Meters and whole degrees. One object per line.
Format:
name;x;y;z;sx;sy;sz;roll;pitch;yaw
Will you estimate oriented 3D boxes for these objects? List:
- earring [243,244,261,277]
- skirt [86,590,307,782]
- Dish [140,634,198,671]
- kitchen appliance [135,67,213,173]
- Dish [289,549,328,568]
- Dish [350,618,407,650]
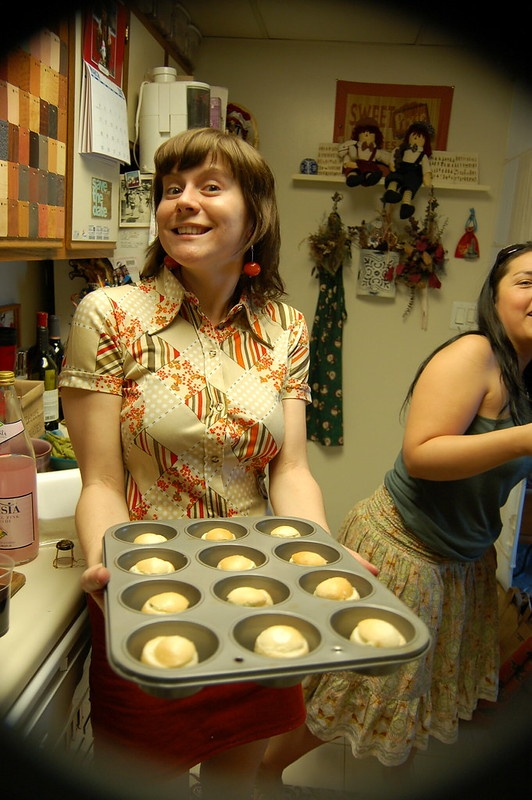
earring;-0.026;-0.264;1.072;0.033;0.066;0.031;-21;35;-34
skirt;-0.105;0.416;1.013;0.415;0.081;0.401;12;7;36
Dish;-0.113;0.271;0.632;0.037;0.013;0.041;5;-2;33
kitchen appliance;-0.346;-0.979;2.119;0.273;0.420;0.280;4;13;14
Dish;0.063;0.242;0.862;0.055;0.015;0.055;7;11;5
Dish;0.136;0.274;0.683;0.032;0.015;0.033;5;1;32
